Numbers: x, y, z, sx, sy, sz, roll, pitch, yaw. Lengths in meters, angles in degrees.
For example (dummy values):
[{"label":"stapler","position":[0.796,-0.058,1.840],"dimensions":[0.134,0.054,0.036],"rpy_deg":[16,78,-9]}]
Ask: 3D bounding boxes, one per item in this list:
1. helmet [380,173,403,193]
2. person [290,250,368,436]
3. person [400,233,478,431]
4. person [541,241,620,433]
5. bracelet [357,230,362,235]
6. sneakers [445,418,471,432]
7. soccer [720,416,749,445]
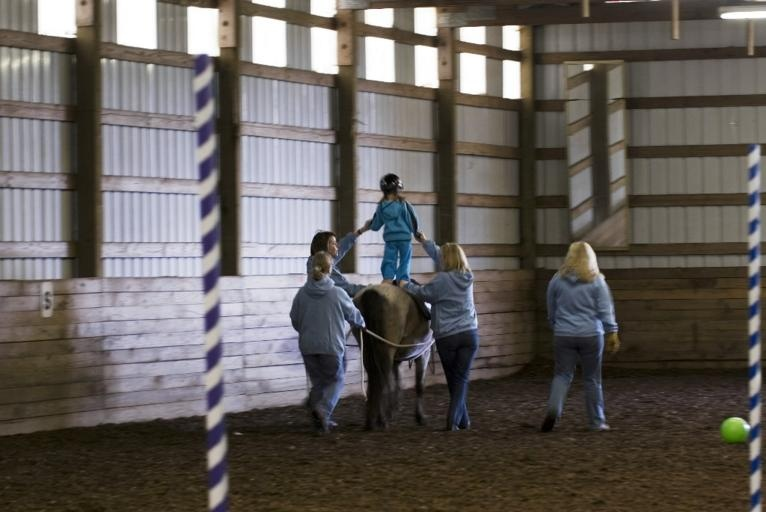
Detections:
[{"label":"helmet","position":[0.101,-0.902,11.337],"dimensions":[0.233,0.218,0.264],"rpy_deg":[-2,8,-6]},{"label":"person","position":[-0.622,0.991,10.493],"dimensions":[0.823,2.053,0.396],"rpy_deg":[-1,8,1]},{"label":"person","position":[0.769,0.935,10.526],"dimensions":[0.511,2.123,0.454],"rpy_deg":[-4,9,-18]},{"label":"person","position":[2.155,0.912,10.357],"dimensions":[0.769,2.127,0.491],"rpy_deg":[0,9,7]},{"label":"bracelet","position":[-0.273,-0.295,11.170],"dimensions":[0.053,0.031,0.048],"rpy_deg":[0,-4,0]},{"label":"sneakers","position":[0.844,1.955,10.540],"dimensions":[0.226,0.113,0.125],"rpy_deg":[-6,5,-15]},{"label":"soccer","position":[3.676,1.880,9.823],"dimensions":[0.270,0.237,0.336],"rpy_deg":[2,8,16]}]
